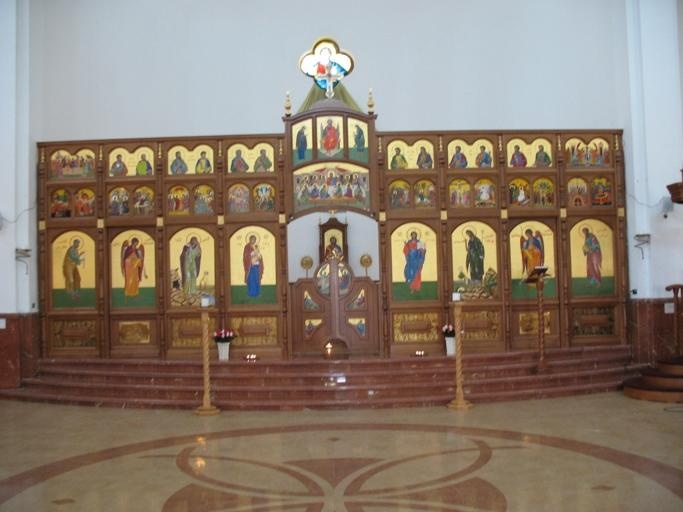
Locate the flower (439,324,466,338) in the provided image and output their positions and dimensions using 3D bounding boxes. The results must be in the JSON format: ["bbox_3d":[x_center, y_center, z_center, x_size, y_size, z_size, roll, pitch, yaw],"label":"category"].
[{"bbox_3d":[2.938,2.029,23.136,0.532,0.203,0.425,-1,4,-39],"label":"flower"}]
